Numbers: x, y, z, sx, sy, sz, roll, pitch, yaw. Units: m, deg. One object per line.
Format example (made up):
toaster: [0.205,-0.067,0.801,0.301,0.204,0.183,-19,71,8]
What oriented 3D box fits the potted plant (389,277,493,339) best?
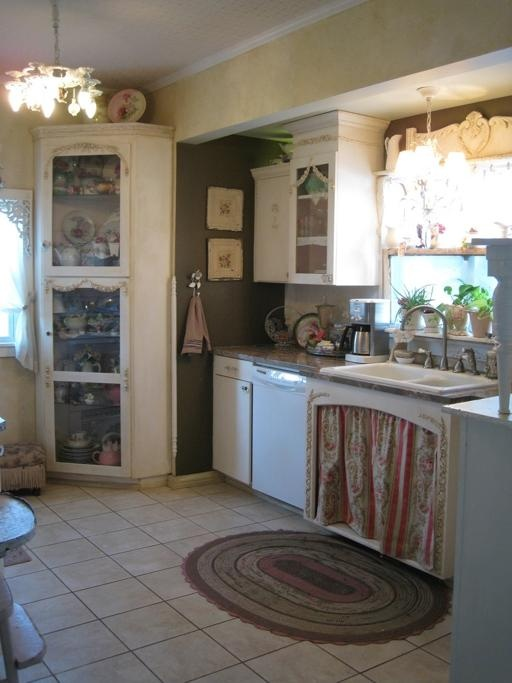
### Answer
potted plant: [0.995,-0.156,3.087,0.462,0.184,0.262,3,7,37]

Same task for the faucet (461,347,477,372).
faucet: [1.054,0.090,2.903,0.072,0.117,0.146,2,3,18]

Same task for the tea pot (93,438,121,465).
tea pot: [-0.999,0.760,4.099,0.211,0.181,0.151,-1,0,6]

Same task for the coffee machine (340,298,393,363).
coffee machine: [0.649,-0.066,3.370,0.261,0.364,0.252,1,3,6]

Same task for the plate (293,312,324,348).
plate: [0.356,-0.077,4.044,0.167,0.241,0.418,0,3,-7]

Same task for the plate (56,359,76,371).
plate: [-1.287,0.158,3.998,0.111,0.071,0.075,0,4,6]

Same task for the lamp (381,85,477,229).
lamp: [0.900,-0.921,3.043,0.359,0.642,0.773,1,3,5]

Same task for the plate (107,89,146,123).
plate: [-0.872,-1.594,3.968,0.297,0.272,0.067,3,6,25]

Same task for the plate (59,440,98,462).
plate: [-1.224,0.763,4.037,0.187,0.068,0.181,7,15,25]

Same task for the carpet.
carpet: [0.225,1.071,2.656,0.930,0.021,1.171,-2,3,-38]

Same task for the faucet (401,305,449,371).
faucet: [0.870,-0.028,3.057,0.242,0.324,0.381,1,3,16]

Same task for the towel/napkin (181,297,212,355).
towel/napkin: [-0.394,-0.124,4.041,0.112,0.409,0.264,3,4,43]

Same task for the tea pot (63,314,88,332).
tea pot: [-1.216,-0.130,3.970,0.146,0.103,0.126,1,0,-27]
